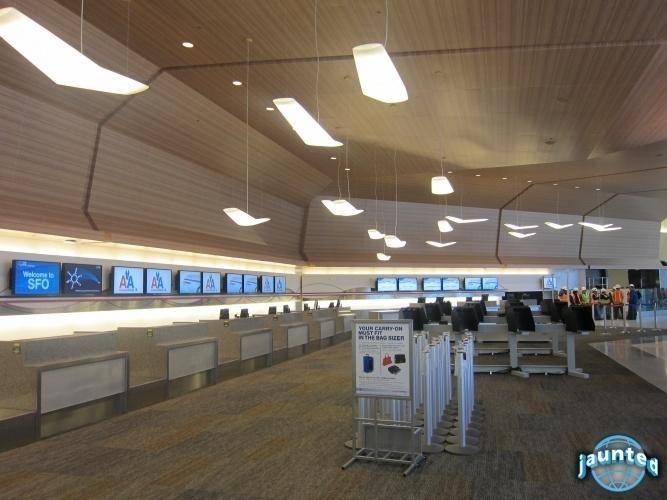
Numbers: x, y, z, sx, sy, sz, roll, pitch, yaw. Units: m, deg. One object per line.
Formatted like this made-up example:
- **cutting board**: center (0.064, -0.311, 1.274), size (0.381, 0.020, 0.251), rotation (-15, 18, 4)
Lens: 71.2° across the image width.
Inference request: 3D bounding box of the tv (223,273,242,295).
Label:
- **tv**: center (-3.032, 1.014, 13.916), size (0.358, 0.604, 0.600), rotation (-7, -15, 23)

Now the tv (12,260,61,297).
- **tv**: center (-5.284, 0.508, 8.251), size (0.101, 0.470, 0.732), rotation (-8, -8, 29)

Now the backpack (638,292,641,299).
- **backpack**: center (10.456, 1.562, 15.989), size (0.059, 0.238, 0.297), rotation (-3, -3, 25)

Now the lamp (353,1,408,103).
- **lamp**: center (0.444, -1.887, 4.642), size (0.448, 0.678, 0.671), rotation (-2, -3, 18)

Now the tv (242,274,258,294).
- **tv**: center (-2.674, 1.090, 14.798), size (0.080, 0.443, 0.704), rotation (-5, -8, 21)

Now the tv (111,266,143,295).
- **tv**: center (-4.477, 0.668, 10.204), size (0.128, 0.606, 0.838), rotation (-2, -3, 18)

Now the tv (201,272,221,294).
- **tv**: center (-3.397, 0.916, 12.857), size (0.102, 0.515, 0.677), rotation (-7, -9, 29)
